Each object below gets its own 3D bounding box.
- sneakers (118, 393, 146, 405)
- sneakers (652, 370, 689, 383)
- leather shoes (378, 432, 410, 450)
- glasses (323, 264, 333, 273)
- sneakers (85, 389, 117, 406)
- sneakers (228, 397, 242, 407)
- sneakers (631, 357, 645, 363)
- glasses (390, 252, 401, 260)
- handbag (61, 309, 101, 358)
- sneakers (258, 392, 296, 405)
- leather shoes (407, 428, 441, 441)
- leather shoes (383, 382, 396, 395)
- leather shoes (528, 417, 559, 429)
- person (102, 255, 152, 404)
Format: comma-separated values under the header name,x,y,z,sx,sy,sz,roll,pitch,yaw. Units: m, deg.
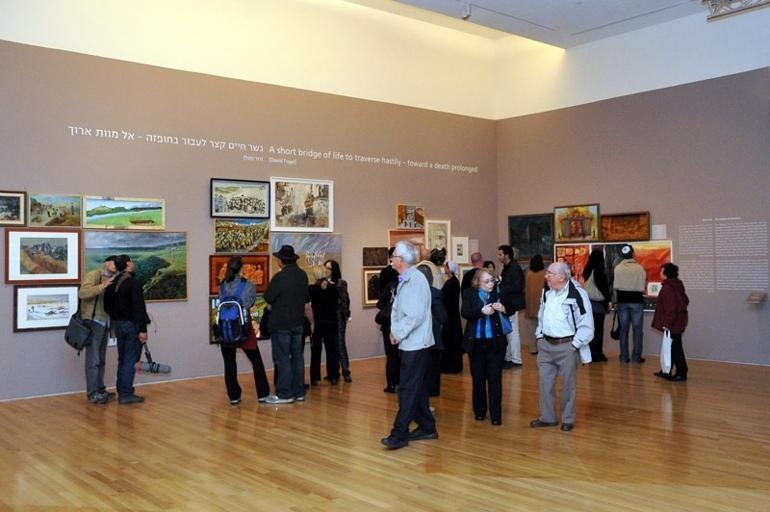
name,x,y,z,sx,sy,sz,roll,pitch,yaw
sneakers,-4.284,2.406,9.290,0.463,0.195,0.156,-1,3,-25
sneakers,5.440,2.261,10.625,0.219,0.273,0.645,1,1,-38
leather shoes,0.114,2.441,7.288,0.364,0.176,0.170,6,-8,-17
glasses,-1.065,0.213,10.346,0.138,0.199,0.152,3,-4,-13
sneakers,-4.819,2.392,9.389,0.470,0.220,0.189,-2,4,-2
sneakers,-2.491,2.408,9.164,0.089,0.105,0.251,2,1,7
sneakers,5.511,2.246,12.042,0.326,0.139,0.100,-3,2,-30
glasses,0.136,-0.004,7.690,0.131,0.078,0.167,0,-1,-7
handbag,-5.184,1.296,9.396,0.667,0.877,0.420,18,2,35
sneakers,-1.842,2.377,9.245,0.473,0.143,0.201,4,-12,-8
leather shoes,0.516,2.432,7.582,0.416,0.174,0.152,5,-11,-8
leather shoes,0.080,2.366,9.923,0.115,0.214,0.300,1,5,-30
leather shoes,2.285,2.388,7.992,0.391,0.166,0.143,3,-7,2
person,-4.362,1.217,9.317,0.779,2.465,0.335,0,3,14
